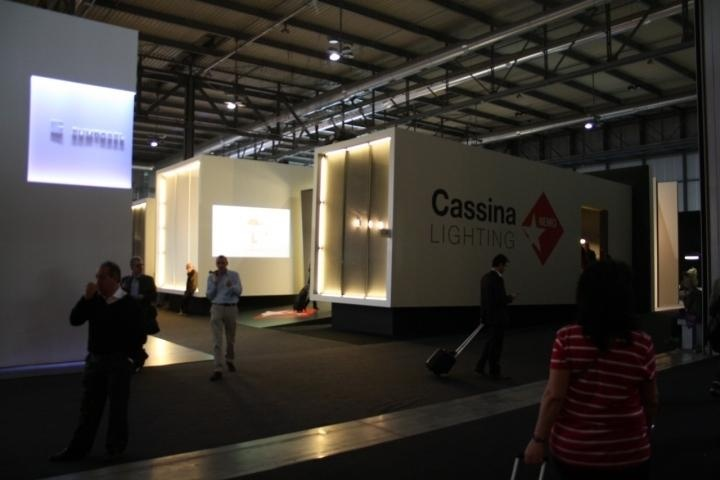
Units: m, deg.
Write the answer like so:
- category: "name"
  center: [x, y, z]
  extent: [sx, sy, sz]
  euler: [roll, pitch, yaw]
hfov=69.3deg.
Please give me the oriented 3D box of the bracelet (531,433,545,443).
- category: "bracelet"
  center: [1.330, 1.477, 3.875]
  extent: [0.054, 0.025, 0.066]
  euler: [7, -4, 3]

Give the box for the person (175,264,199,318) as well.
- category: "person"
  center: [-5.348, 1.546, 16.367]
  extent: [0.445, 1.627, 0.828]
  euler: [0, 1, -23]

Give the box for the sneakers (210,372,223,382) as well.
- category: "sneakers"
  center: [-2.331, 2.201, 8.517]
  extent: [0.206, 0.120, 0.348]
  euler: [0, 1, -17]

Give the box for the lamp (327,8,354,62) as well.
- category: "lamp"
  center: [-0.473, -5.188, 12.995]
  extent: [0.451, 1.112, 0.595]
  euler: [-1, 25, -1]

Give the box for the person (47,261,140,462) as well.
- category: "person"
  center: [-2.904, 1.354, 5.958]
  extent: [0.803, 2.177, 0.395]
  euler: [0, 0, -5]
